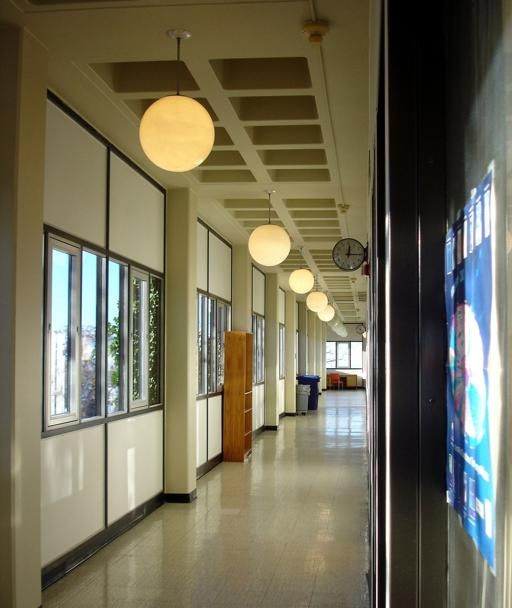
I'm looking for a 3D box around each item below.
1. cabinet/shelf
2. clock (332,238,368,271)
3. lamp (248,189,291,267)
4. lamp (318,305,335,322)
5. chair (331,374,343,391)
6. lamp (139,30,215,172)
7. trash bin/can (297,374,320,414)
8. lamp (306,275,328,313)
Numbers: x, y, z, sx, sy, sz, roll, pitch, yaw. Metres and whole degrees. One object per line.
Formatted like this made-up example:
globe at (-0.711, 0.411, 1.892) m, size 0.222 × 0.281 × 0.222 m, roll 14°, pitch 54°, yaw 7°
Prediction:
cabinet/shelf at (-0.314, 1.639, 8.933) m, size 0.570 × 2.260 × 0.473 m, roll 1°, pitch -5°, yaw -21°
clock at (1.445, -0.786, 7.757) m, size 0.456 × 0.567 × 0.508 m, roll -3°, pitch -6°, yaw 23°
lamp at (0.163, -1.053, 6.148) m, size 0.401 × 1.304 × 0.458 m, roll 1°, pitch 0°, yaw 30°
lamp at (2.007, 0.230, 14.356) m, size 0.331 × 0.587 × 0.427 m, roll 8°, pitch -18°, yaw 11°
chair at (4.776, 4.634, 29.780) m, size 0.647 × 1.346 × 0.815 m, roll 0°, pitch -8°, yaw -3°
lamp at (-0.518, -1.294, 3.311) m, size 0.390 × 1.228 × 0.494 m, roll -3°, pitch -14°, yaw 4°
trash bin/can at (1.852, 3.133, 17.754) m, size 0.706 × 1.652 × 0.954 m, roll 0°, pitch -9°, yaw 0°
lamp at (1.379, -0.200, 11.198) m, size 0.441 × 0.823 × 0.559 m, roll 3°, pitch 0°, yaw -2°
